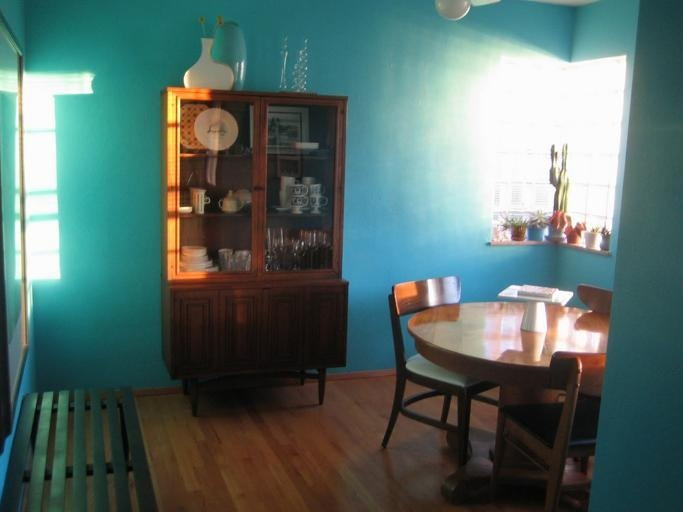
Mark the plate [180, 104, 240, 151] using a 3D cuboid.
[{"bbox_3d":[-0.867,-0.841,3.694,0.386,0.277,0.094,-3,13,-24],"label":"plate"}]

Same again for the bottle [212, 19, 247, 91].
[{"bbox_3d":[-0.765,-1.354,3.846,0.259,0.454,0.263,2,16,-1],"label":"bottle"}]

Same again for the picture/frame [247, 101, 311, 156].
[{"bbox_3d":[-0.444,-0.875,3.807,0.350,0.321,0.028,-1,9,-15],"label":"picture/frame"}]

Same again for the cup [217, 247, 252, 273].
[{"bbox_3d":[-0.699,0.009,3.786,0.125,0.146,0.196,1,0,-28],"label":"cup"}]

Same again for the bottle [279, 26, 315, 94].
[{"bbox_3d":[-0.346,-1.425,4.179,0.244,0.391,0.070,0,11,-7],"label":"bottle"}]

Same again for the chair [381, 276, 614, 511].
[{"bbox_3d":[0.856,0.584,3.181,0.983,0.898,1.260,-4,9,-22],"label":"chair"}]

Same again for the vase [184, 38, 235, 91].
[{"bbox_3d":[-0.883,-1.263,3.764,0.338,0.345,0.333,0,16,3],"label":"vase"}]

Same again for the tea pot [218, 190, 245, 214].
[{"bbox_3d":[-0.744,-0.360,3.808,0.166,0.147,0.111,-4,17,-20],"label":"tea pot"}]

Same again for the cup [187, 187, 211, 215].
[{"bbox_3d":[-0.946,-0.374,3.744,0.166,0.179,0.106,-1,7,-23],"label":"cup"}]

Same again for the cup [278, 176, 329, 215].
[{"bbox_3d":[-0.256,-0.425,3.936,0.324,0.258,0.191,1,5,3],"label":"cup"}]

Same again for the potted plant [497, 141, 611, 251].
[{"bbox_3d":[1.875,-0.533,4.955,0.862,0.873,0.495,1,4,3],"label":"potted plant"}]
